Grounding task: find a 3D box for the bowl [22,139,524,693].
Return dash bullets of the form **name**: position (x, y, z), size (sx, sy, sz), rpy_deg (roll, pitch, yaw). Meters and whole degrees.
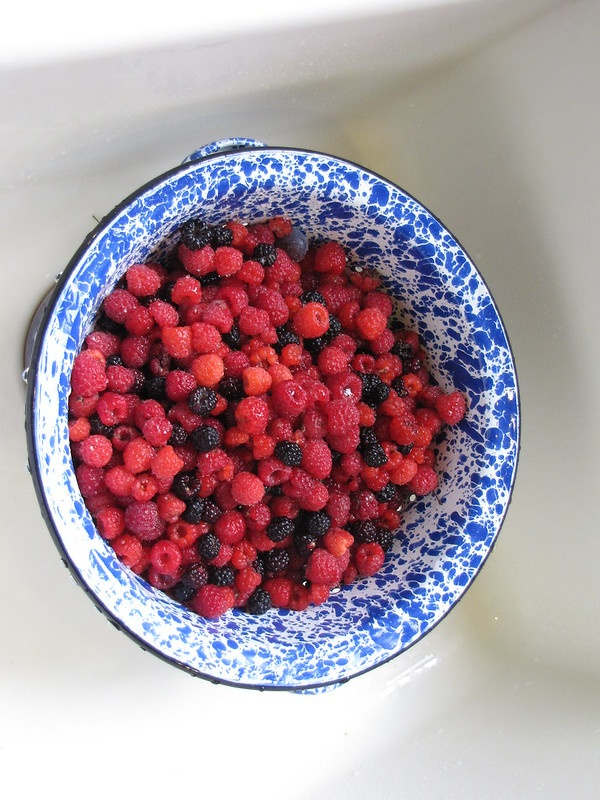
- **bowl**: position (-0.201, 0.043, 1.812), size (1.210, 0.436, 0.991), rpy_deg (9, 86, -30)
